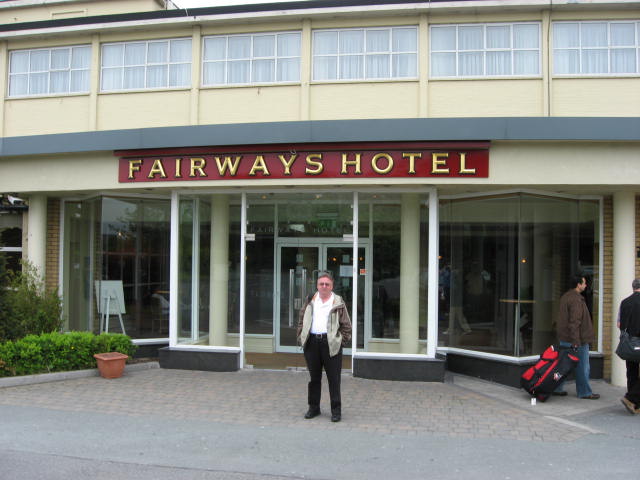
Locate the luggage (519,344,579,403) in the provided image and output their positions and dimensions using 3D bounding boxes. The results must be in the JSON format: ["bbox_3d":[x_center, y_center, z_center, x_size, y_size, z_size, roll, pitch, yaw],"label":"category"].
[{"bbox_3d":[4.408,2.479,12.497,0.784,1.135,0.587,11,10,-37],"label":"luggage"}]

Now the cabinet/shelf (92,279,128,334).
[{"bbox_3d":[-4.871,1.607,15.314,0.558,1.258,0.404,-2,-10,-19],"label":"cabinet/shelf"}]

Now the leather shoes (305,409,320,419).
[{"bbox_3d":[-0.111,2.963,11.135,0.294,0.212,0.114,11,-9,-38],"label":"leather shoes"}]

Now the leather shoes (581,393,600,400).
[{"bbox_3d":[5.230,3.016,12.598,0.373,0.152,0.131,-3,2,4],"label":"leather shoes"}]

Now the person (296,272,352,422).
[{"bbox_3d":[0.076,1.809,11.040,0.864,2.440,0.544,1,5,-1],"label":"person"}]

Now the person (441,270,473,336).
[{"bbox_3d":[2.986,1.337,14.574,0.831,1.529,0.832,0,-3,-13],"label":"person"}]

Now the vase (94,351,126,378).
[{"bbox_3d":[-4.358,2.535,13.564,0.568,0.408,0.480,5,-6,-38],"label":"vase"}]

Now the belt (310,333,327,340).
[{"bbox_3d":[-0.033,1.610,10.972,0.289,0.100,0.045,3,5,22],"label":"belt"}]
